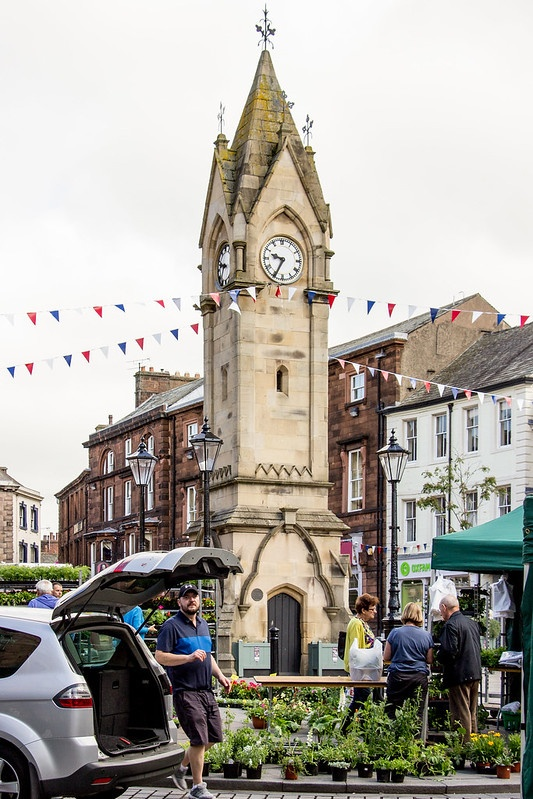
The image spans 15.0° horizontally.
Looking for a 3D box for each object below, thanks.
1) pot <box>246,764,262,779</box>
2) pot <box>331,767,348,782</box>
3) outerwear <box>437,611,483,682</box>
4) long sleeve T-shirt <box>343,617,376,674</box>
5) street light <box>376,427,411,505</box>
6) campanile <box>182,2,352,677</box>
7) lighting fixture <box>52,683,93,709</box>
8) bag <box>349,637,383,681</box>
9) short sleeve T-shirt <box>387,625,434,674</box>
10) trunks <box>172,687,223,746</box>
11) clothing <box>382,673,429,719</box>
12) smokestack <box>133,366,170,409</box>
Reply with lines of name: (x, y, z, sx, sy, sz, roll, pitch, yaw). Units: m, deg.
pot: (-0.153, 3.516, 19.138, 0.115, 0.094, 0.121, 0, -13, 0)
pot: (0.656, 3.529, 19.082, 0.112, 0.097, 0.127, 0, -13, -2)
outerwear: (1.935, 2.565, 20.759, 0.410, 0.766, 0.379, 0, -7, 2)
long sleeve T-shirt: (0.965, 2.622, 21.680, 0.298, 0.613, 0.516, 0, -2, 6)
street light: (1.806, 0.830, 29.426, 0.580, 0.872, 0.607, 3, -7, -12)
campanile: (0.090, -0.605, 35.695, 2.282, 10.719, 3.381, 2, -7, -9)
lighting fixture: (-1.557, 2.371, 16.139, 0.124, 0.181, 0.270, -7, -1, -37)
bag: (0.967, 2.681, 20.736, 0.317, 0.381, 0.340, 2, -12, -1)
short sleeve T-shirt: (1.360, 2.455, 20.160, 0.593, 0.635, 0.373, 0, 0, 3)
trunks: (-0.596, 2.790, 17.807, 0.326, 0.516, 0.246, 4, -19, -37)
clothing: (1.338, 2.918, 19.947, 0.424, 0.621, 0.229, 1, -1, 10)
smokestack: (-3.942, -0.335, 66.930, 1.337, 1.839, 1.081, 0, -5, -17)
